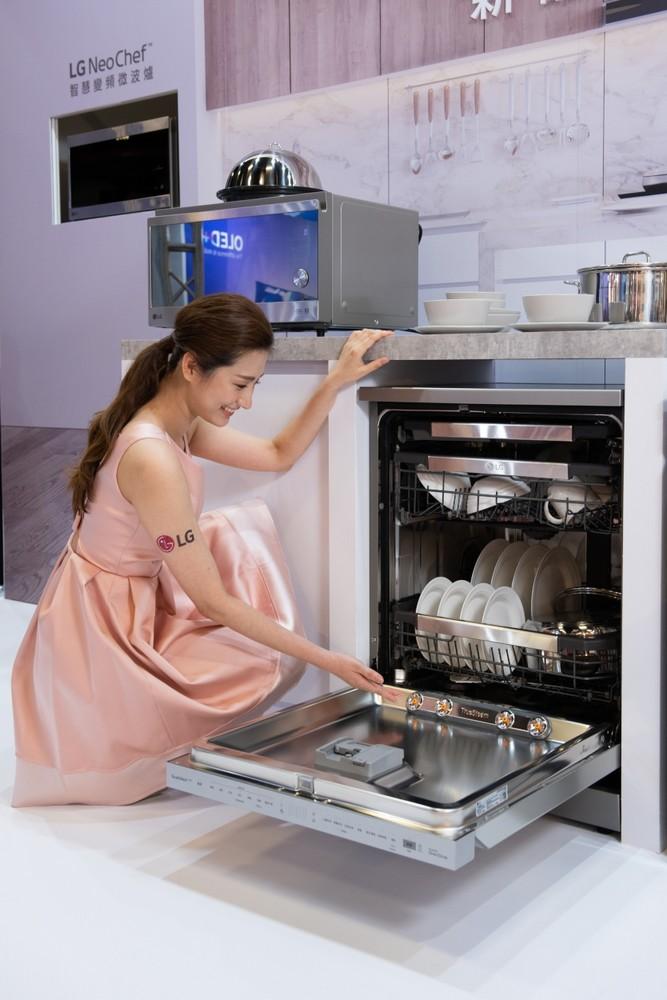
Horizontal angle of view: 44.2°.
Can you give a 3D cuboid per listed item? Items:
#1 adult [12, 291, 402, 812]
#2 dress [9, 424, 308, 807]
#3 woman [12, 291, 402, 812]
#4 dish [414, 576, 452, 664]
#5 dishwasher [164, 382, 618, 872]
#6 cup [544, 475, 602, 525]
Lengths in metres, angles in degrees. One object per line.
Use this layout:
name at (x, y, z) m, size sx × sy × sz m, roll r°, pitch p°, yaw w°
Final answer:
adult at (-0.217, 0.118, 1.586) m, size 0.757 × 0.952 × 0.696 m, roll -7°, pitch 25°, yaw -28°
dress at (-0.344, 0.182, 1.945) m, size 0.678 × 0.881 × 0.616 m, roll -3°, pitch 4°, yaw -18°
woman at (-0.188, 0.094, 1.638) m, size 0.793 × 0.942 × 0.657 m, roll 13°, pitch 23°, yaw 19°
dish at (0.215, 0.235, 1.596) m, size 0.018 × 0.140 × 0.135 m, roll 8°, pitch 36°, yaw 21°
dishwasher at (0.215, 0.135, 1.470) m, size 0.585 × 0.635 × 0.885 m, roll 0°, pitch 0°, yaw 30°
cup at (0.402, 0.006, 1.382) m, size 0.105 × 0.077 × 0.086 m, roll -1°, pitch -1°, yaw 26°
